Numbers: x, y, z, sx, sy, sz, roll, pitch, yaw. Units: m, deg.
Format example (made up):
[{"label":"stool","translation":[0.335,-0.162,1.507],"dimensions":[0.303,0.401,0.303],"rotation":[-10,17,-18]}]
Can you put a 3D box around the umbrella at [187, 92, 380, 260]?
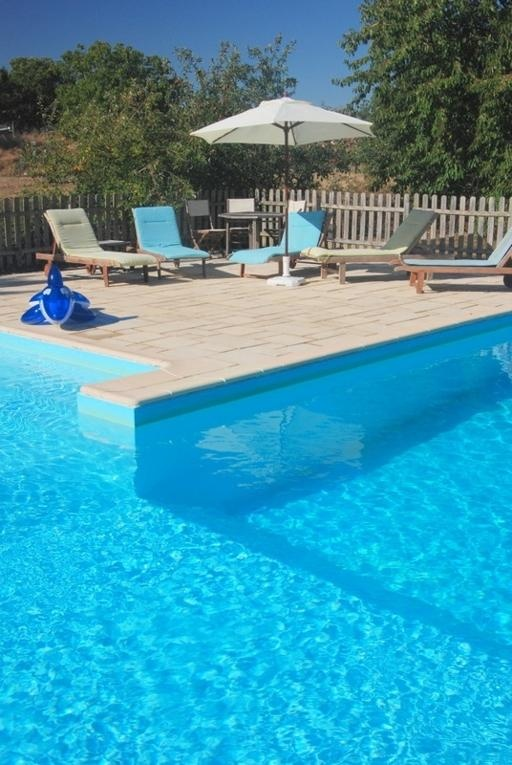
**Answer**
[{"label":"umbrella","translation":[0.627,-3.116,11.346],"dimensions":[3.164,2.721,2.989],"rotation":[-3,20,-5]}]

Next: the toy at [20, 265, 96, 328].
[{"label":"toy","translation":[-2.125,-0.879,7.205],"dimensions":[0.605,0.290,0.783],"rotation":[-1,22,-10]}]
